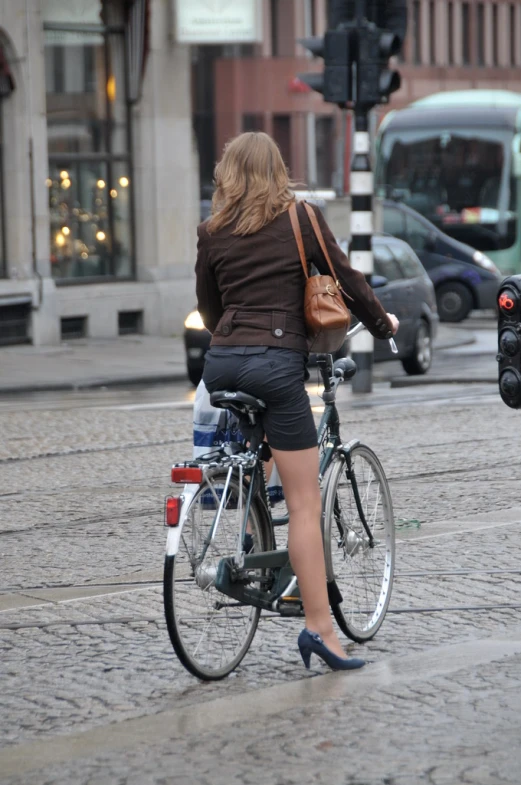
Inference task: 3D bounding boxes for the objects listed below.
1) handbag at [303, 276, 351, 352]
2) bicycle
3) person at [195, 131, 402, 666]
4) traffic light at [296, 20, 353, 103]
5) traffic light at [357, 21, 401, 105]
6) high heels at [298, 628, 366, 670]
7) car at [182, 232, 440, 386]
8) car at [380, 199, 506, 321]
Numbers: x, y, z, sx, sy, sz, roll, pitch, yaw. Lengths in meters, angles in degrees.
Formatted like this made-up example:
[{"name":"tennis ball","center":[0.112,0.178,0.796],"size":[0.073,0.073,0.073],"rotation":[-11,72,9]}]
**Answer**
[{"name":"handbag","center":[0.186,-0.251,4.201],"size":[0.123,0.262,0.276],"rotation":[-3,1,-11]},{"name":"bicycle","center":[0.214,0.451,4.415],"size":[0.537,0.828,1.307],"rotation":[1,7,25]},{"name":"person","center":[0.101,0.039,4.233],"size":[0.557,1.678,0.374],"rotation":[-3,7,-3]},{"name":"traffic light","center":[0.566,-2.846,11.918],"size":[0.405,0.716,0.598],"rotation":[-4,7,-8]},{"name":"traffic light","center":[1.010,-2.851,11.855],"size":[0.356,0.726,0.491],"rotation":[0,8,16]},{"name":"high heels","center":[0.248,0.804,4.297],"size":[0.255,0.152,0.089],"rotation":[2,-3,-7]},{"name":"car","center":[0.873,-0.898,15.353],"size":[2.721,1.470,1.558],"rotation":[0,1,-45]},{"name":"car","center":[3.146,-2.421,24.119],"size":[2.794,1.568,1.615],"rotation":[-1,9,-1]}]
